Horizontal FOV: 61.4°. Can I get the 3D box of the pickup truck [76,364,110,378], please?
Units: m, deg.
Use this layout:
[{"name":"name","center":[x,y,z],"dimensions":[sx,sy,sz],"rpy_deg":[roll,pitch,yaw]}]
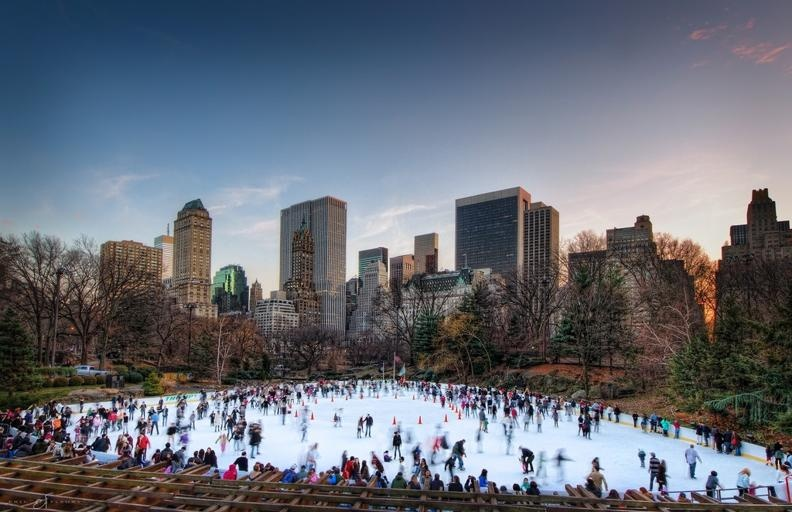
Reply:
[{"name":"pickup truck","center":[-34.391,13.082,75.726],"dimensions":[2.998,0.915,1.303],"rpy_deg":[6,-5,5]}]
